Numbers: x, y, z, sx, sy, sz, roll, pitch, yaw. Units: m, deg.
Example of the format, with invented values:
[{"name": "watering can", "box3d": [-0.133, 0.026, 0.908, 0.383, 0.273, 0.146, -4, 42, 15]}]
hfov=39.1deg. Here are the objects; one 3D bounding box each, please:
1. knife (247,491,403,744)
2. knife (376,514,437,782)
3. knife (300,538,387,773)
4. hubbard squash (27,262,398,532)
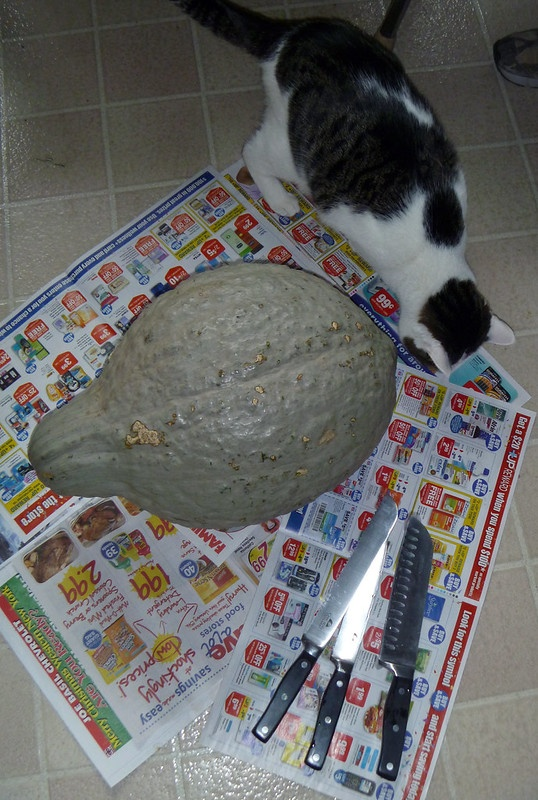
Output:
[{"name": "knife", "box3d": [0.066, 0.279, 0.923, 0.052, 0.028, 0.392, 36, 84, 4]}, {"name": "knife", "box3d": [0.164, 0.301, 0.939, 0.056, 0.015, 0.323, 13, 80, 8]}, {"name": "knife", "box3d": [0.103, 0.304, 0.943, 0.057, 0.016, 0.317, 25, 85, 15]}, {"name": "hubbard squash", "box3d": [-0.044, -0.008, 0.815, 0.375, 0.185, 0.214, -11, 96, -5]}]
